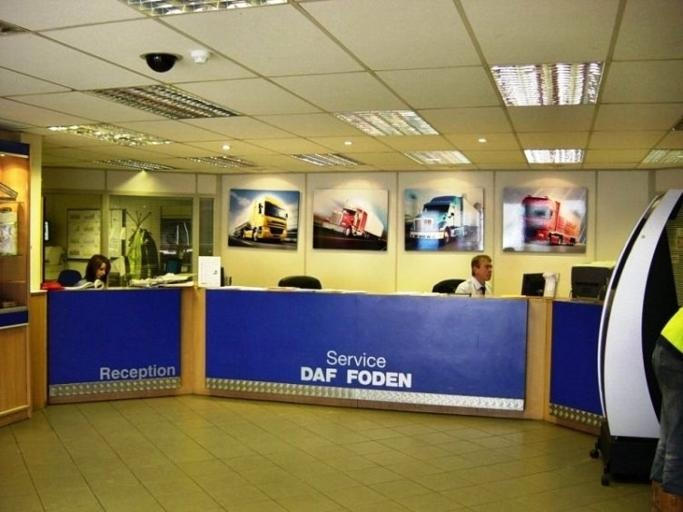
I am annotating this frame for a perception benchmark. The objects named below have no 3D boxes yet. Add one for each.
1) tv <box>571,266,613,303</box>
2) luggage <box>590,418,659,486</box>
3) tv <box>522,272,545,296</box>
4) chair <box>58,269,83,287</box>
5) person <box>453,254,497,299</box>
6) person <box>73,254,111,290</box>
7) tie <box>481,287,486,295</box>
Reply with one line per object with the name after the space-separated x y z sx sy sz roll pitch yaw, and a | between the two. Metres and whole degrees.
2.705 0.296 5.411 0.408 0.330 0.402 0 -6 35 | tv
2.347 1.665 4.268 0.508 0.404 0.641 2 -4 12 | luggage
2.623 0.396 6.800 0.376 0.300 0.181 2 -6 8 | tv
-3.907 0.318 7.209 0.350 0.286 0.382 3 -11 -37 | chair
1.731 0.283 6.687 0.589 0.687 0.837 0 3 32 | person
-3.366 0.209 6.790 0.375 0.425 0.890 1 1 -24 | person
1.913 0.479 6.731 0.091 0.100 0.027 -4 -4 -20 | tie
